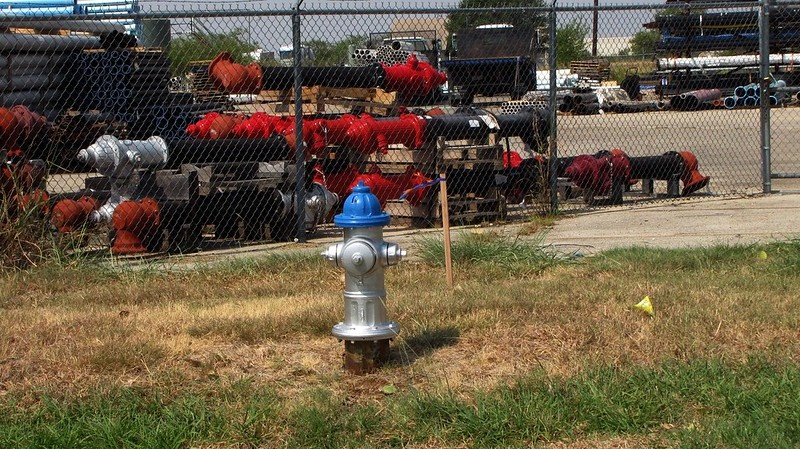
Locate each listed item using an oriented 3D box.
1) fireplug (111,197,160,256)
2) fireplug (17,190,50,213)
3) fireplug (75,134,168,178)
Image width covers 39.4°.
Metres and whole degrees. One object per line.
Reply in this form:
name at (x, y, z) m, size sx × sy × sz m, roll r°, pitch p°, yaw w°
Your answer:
fireplug at (-4.556, -0.027, 18.883) m, size 0.518 × 0.600 × 0.489 m, roll 4°, pitch 20°, yaw 10°
fireplug at (-5.938, -0.369, 18.269) m, size 0.389 × 0.244 × 0.418 m, roll 3°, pitch 5°, yaw 34°
fireplug at (-4.755, -1.173, 19.305) m, size 1.180 × 0.776 × 1.582 m, roll 10°, pitch 11°, yaw 34°
